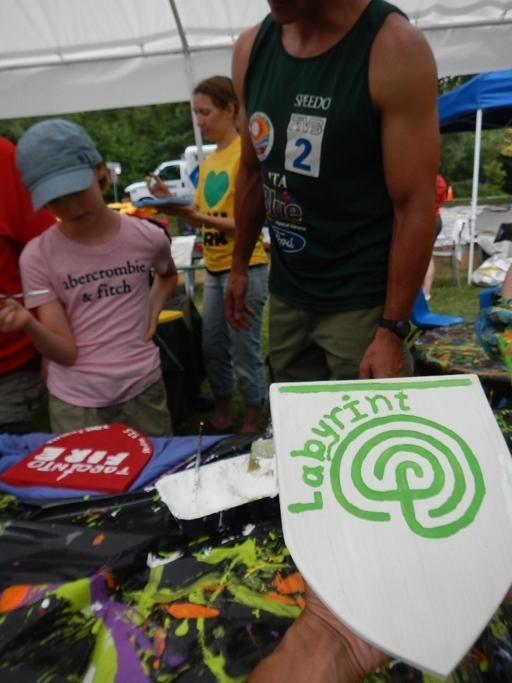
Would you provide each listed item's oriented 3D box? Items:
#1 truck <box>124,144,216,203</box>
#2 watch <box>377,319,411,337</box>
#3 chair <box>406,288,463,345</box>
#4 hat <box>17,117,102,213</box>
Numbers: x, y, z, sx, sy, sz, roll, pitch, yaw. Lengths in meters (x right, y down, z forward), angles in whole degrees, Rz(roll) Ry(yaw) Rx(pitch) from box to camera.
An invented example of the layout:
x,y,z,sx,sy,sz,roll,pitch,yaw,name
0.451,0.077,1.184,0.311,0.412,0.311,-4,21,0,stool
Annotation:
x,y,z,sx,sy,sz,roll,pitch,yaw,name
-1.735,-3.664,12.207,2.581,1.304,1.140,-13,18,-25,truck
0.329,-0.024,1.285,0.057,0.033,0.042,21,11,-20,watch
1.080,-0.186,3.181,0.286,0.265,0.252,18,16,36,chair
-0.587,-0.533,1.562,0.238,0.185,0.350,-18,34,-2,hat
